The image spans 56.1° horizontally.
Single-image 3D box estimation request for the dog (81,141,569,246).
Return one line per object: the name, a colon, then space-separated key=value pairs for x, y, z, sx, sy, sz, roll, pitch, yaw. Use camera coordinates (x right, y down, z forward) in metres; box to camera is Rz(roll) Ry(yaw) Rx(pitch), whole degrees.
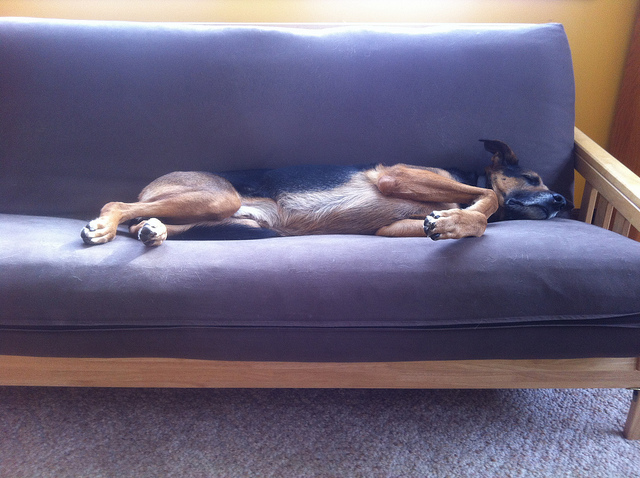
dog: x=-0.031 y=-0.190 z=2.691 sx=1.268 sy=0.324 sz=0.432 roll=0 pitch=21 yaw=3
